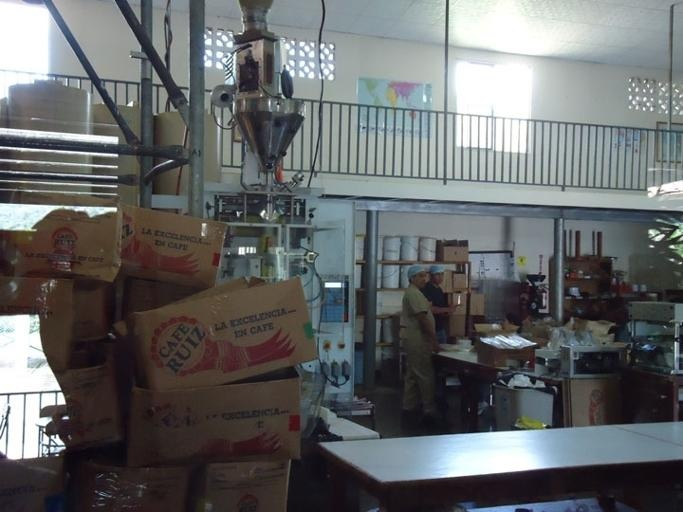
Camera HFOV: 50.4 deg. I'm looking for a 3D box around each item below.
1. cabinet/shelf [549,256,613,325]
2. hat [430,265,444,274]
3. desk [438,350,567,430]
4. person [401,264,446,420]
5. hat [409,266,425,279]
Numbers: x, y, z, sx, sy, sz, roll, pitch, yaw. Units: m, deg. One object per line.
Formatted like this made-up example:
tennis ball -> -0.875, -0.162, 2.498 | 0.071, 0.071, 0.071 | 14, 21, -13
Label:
cabinet/shelf -> 4.162, 0.486, 11.963 | 0.268, 0.922, 0.891 | -17, -14, 41
hat -> 1.179, 0.159, 8.936 | 0.106, 0.039, 0.116 | 3, 11, 24
desk -> 1.388, 1.132, 6.866 | 0.593, 0.682, 0.935 | -1, 2, -22
person -> 0.847, 1.010, 7.809 | 0.326, 1.362, 0.689 | 0, 1, -7
hat -> 0.870, 0.172, 8.398 | 0.147, 0.116, 0.144 | -5, 5, -43
